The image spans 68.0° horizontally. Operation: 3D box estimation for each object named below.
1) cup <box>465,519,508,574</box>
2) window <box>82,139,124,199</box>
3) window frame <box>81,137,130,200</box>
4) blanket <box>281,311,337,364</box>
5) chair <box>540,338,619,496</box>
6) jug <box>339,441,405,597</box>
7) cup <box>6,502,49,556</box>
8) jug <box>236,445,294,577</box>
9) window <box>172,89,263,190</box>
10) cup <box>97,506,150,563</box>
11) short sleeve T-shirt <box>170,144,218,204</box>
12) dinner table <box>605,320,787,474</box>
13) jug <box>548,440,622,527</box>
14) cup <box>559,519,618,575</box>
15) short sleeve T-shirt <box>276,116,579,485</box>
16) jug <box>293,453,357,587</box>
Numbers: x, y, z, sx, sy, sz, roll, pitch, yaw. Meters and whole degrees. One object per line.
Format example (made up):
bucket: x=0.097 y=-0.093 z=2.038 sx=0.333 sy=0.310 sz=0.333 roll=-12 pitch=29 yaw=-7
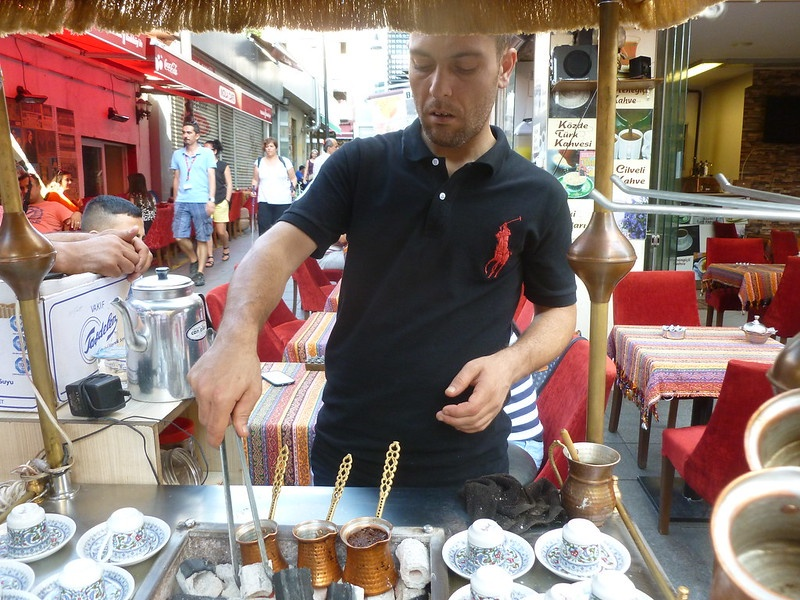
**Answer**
cup: x=0.184 y=0.526 z=1.269 sx=0.086 sy=0.094 sz=0.087 roll=-2 pitch=10 yaw=0
window: x=-4.827 y=-2.091 z=9.597 sx=1.234 sy=1.021 sz=0.066 roll=1 pitch=1 yaw=23
window frame: x=-4.825 y=-2.056 z=9.675 sx=1.350 sy=1.117 sz=0.096 roll=5 pitch=7 yaw=35
blanket: x=-0.535 y=0.215 z=3.566 sx=0.326 sy=0.089 sz=0.352 roll=-4 pitch=19 yaw=-2
chair: x=0.751 y=0.451 z=2.482 sx=0.371 sy=0.498 sz=0.365 roll=-12 pitch=-23 yaw=39
jug: x=-0.044 y=0.486 z=1.307 sx=0.093 sy=0.143 sz=0.318 roll=1 pitch=14 yaw=5
cup: x=-0.813 y=0.495 z=1.288 sx=0.080 sy=0.103 sz=0.087 roll=0 pitch=7 yaw=0
jug: x=-0.284 y=0.450 z=1.331 sx=0.095 sy=0.134 sz=0.320 roll=-2 pitch=17 yaw=-7
window: x=-4.331 y=-3.999 z=14.127 sx=0.152 sy=1.489 sz=3.601 roll=5 pitch=7 yaw=22
cup: x=-0.616 y=0.510 z=1.302 sx=0.098 sy=0.079 sz=0.091 roll=-2 pitch=11 yaw=0
short sleeve T-shirt: x=-2.720 y=-1.663 z=7.772 sx=0.564 sy=0.806 sz=0.375 roll=-2 pitch=-1 yaw=0
dinner table: x=1.750 y=0.402 z=3.837 sx=1.093 sy=0.779 sz=1.184 roll=-1 pitch=8 yaw=-1
jug: x=0.439 y=0.418 z=1.431 sx=0.118 sy=0.210 sz=0.185 roll=-4 pitch=8 yaw=-27
cup: x=0.402 y=0.494 z=1.263 sx=0.090 sy=0.106 sz=0.101 roll=-11 pitch=11 yaw=-27
short sleeve T-shirt: x=0.061 y=0.078 z=1.866 sx=0.892 sy=1.338 sz=0.459 roll=7 pitch=27 yaw=4
jug: x=-0.132 y=0.495 z=1.309 sx=0.091 sy=0.161 sz=0.274 roll=1 pitch=6 yaw=5
